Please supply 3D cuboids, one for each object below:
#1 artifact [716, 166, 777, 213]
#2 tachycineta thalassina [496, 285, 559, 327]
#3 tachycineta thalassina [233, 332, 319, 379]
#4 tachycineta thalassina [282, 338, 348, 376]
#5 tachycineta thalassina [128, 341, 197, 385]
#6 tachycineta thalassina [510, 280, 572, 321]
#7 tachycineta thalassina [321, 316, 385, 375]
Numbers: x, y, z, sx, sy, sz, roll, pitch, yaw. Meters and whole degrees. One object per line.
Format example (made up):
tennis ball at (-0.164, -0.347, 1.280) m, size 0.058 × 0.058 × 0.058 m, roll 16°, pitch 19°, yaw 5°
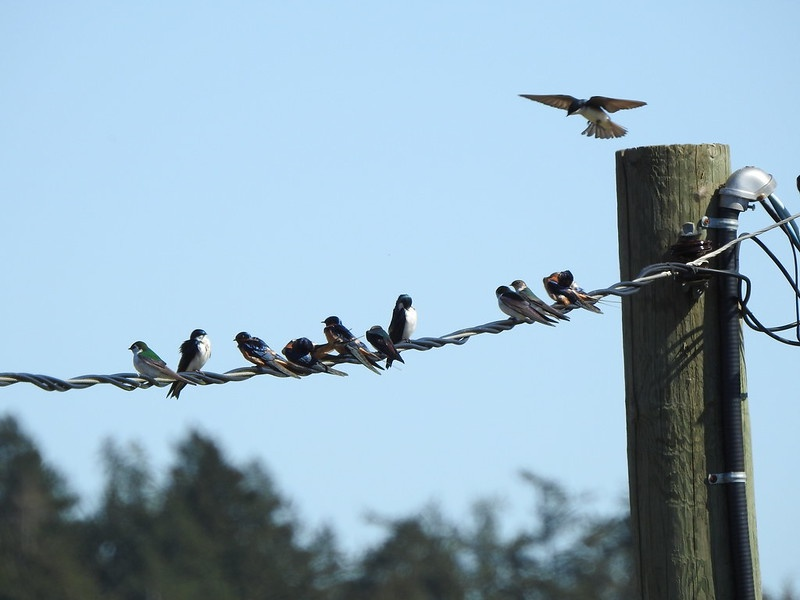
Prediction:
artifact at (3.007, -1.043, 14.688) m, size 0.522 × 0.412 × 0.394 m, roll -12°, pitch 25°, yaw -13°
tachycineta thalassina at (1.105, 0.019, 14.881) m, size 0.658 × 0.302 × 0.190 m, roll 8°, pitch 0°, yaw 21°
tachycineta thalassina at (-1.061, 0.382, 14.227) m, size 0.547 × 0.394 × 0.491 m, roll 2°, pitch -22°, yaw -9°
tachycineta thalassina at (-0.731, 0.460, 14.459) m, size 0.632 × 0.281 × 0.198 m, roll 12°, pitch 15°, yaw 23°
tachycineta thalassina at (-1.985, 0.470, 14.192) m, size 0.542 × 0.359 × 0.540 m, roll 8°, pitch -24°, yaw -22°
tachycineta thalassina at (0.577, -0.057, 6.815) m, size 0.158 × 0.101 × 0.350 m, roll 5°, pitch 16°, yaw -7°
tachycineta thalassina at (-0.434, 0.326, 14.602) m, size 0.670 × 0.428 × 0.229 m, roll 11°, pitch -11°, yaw 20°
